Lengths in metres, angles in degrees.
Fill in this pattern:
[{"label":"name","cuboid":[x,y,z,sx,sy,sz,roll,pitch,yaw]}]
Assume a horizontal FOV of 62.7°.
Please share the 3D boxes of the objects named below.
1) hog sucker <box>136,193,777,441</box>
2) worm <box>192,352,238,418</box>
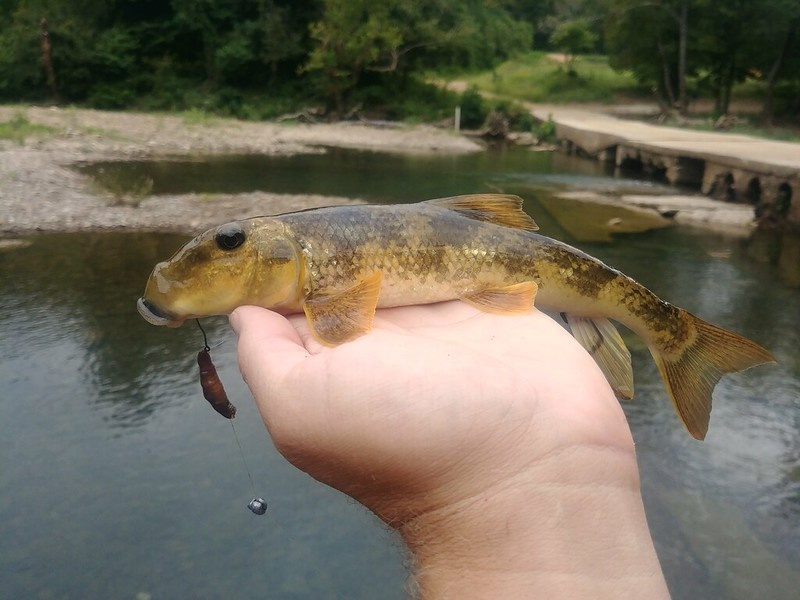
[{"label":"hog sucker","cuboid":[0.343,-0.047,5.273,4.668,1.243,1.008,7,15,3]},{"label":"worm","cuboid":[-1.446,0.649,5.144,0.210,0.610,0.234,-18,4,43]}]
